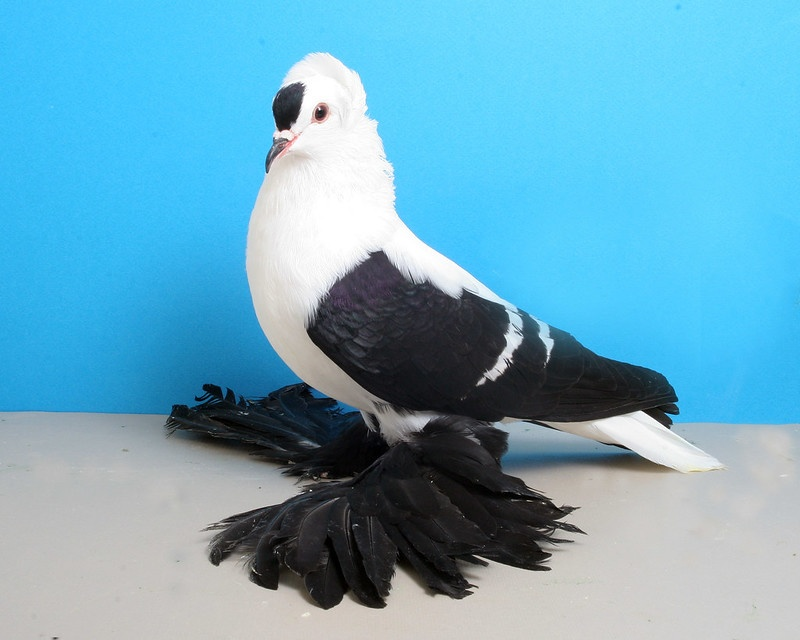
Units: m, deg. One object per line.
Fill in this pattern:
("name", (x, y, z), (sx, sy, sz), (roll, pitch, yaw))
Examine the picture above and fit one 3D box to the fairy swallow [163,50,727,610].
("fairy swallow", (-0.056, -0.070, 2.384), (1.527, 0.915, 1.660), (3, 5, -39))
